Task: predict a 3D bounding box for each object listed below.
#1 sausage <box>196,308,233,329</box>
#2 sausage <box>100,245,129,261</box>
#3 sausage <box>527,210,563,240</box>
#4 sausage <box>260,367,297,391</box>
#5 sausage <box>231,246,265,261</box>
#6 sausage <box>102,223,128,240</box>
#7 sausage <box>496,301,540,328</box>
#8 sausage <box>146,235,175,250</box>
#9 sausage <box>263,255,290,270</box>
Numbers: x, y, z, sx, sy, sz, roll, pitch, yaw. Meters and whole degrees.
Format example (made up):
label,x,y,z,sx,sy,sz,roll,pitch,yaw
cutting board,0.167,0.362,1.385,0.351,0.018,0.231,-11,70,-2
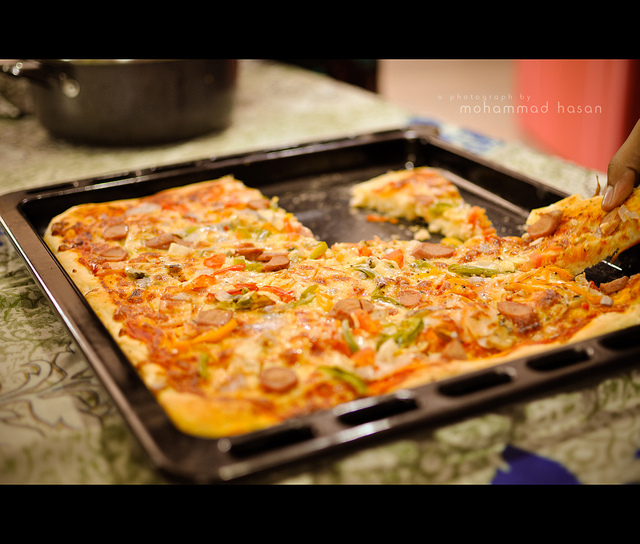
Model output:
label,x,y,z,sx,sy,sz,roll,pitch,yaw
sausage,-0.287,0.123,1.440,0.062,0.014,0.060,17,25,36
sausage,-0.721,-0.066,1.863,0.068,0.015,0.058,1,26,-17
sausage,0.767,-0.156,1.811,0.112,0.034,0.084,-38,21,2
sausage,-0.099,0.249,1.254,0.080,0.016,0.070,-16,49,-16
sausage,-0.238,-0.058,1.830,0.069,0.017,0.063,-4,9,24
sausage,-0.767,-0.149,1.999,0.077,0.015,0.063,-9,26,0
sausage,0.537,0.113,1.437,0.085,0.018,0.072,9,34,18
sausage,-0.576,-0.104,1.922,0.082,0.022,0.050,-11,26,-3
sausage,-0.138,-0.031,1.754,0.061,0.011,0.054,5,22,13
